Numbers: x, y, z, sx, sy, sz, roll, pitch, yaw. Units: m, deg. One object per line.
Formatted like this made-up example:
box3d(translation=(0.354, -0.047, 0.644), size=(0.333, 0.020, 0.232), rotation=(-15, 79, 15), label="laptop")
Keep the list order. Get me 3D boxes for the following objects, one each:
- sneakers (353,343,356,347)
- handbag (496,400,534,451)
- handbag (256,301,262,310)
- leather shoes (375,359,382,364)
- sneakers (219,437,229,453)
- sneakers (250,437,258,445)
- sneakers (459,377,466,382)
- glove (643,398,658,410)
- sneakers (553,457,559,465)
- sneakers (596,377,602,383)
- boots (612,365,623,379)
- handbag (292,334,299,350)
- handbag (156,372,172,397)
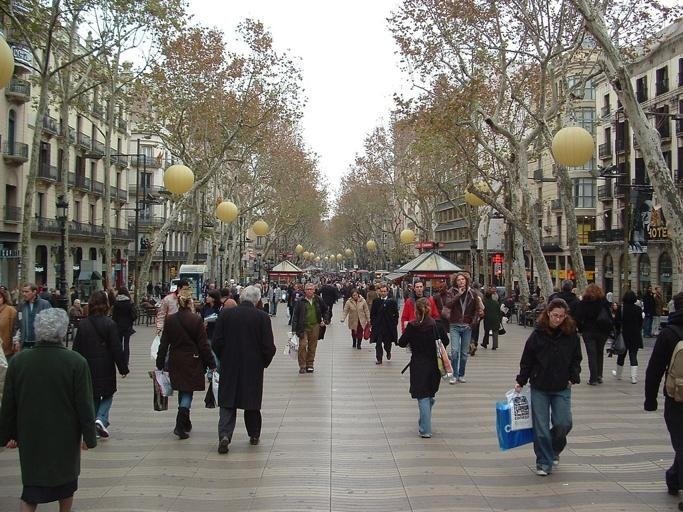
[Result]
box3d(translation=(0.446, 2.875, 21.551), size=(0.088, 0.127, 0.036), rotation=(1, -5, 6), label="sneakers")
box3d(translation=(2.286, 2.206, 8.674), size=(0.497, 0.610, 0.222), rotation=(0, -3, -4), label="handbag")
box3d(translation=(-1.255, 0.766, 10.259), size=(0.090, 0.137, 0.126), rotation=(-1, 19, -2), label="handbag")
box3d(translation=(1.007, 2.764, 17.471), size=(0.153, 0.116, 0.084), rotation=(4, -1, 15), label="leather shoes")
box3d(translation=(-1.628, 2.621, 9.269), size=(0.101, 0.240, 0.102), rotation=(4, 4, -14), label="sneakers")
box3d(translation=(-1.266, 2.682, 9.683), size=(0.056, 0.070, 0.148), rotation=(2, 5, 0), label="sneakers")
box3d(translation=(2.708, 2.734, 14.736), size=(0.177, 0.139, 0.068), rotation=(-4, 5, -2), label="sneakers")
box3d(translation=(3.719, 1.778, 7.947), size=(0.113, 0.128, 0.177), rotation=(-1, -4, 13), label="glove")
box3d(translation=(2.846, 2.698, 8.759), size=(0.052, 0.072, 0.154), rotation=(-3, -16, 9), label="sneakers")
box3d(translation=(5.721, 2.724, 14.637), size=(0.084, 0.122, 0.246), rotation=(-2, -16, 13), label="sneakers")
box3d(translation=(6.504, 2.721, 15.565), size=(0.149, 0.325, 0.330), rotation=(6, -44, 10), label="boots")
box3d(translation=(-0.996, 1.847, 14.240), size=(0.225, 0.240, 0.083), rotation=(7, -17, -30), label="handbag")
box3d(translation=(-2.644, 1.889, 9.876), size=(0.114, 0.349, 0.294), rotation=(-21, -11, 3), label="handbag")
